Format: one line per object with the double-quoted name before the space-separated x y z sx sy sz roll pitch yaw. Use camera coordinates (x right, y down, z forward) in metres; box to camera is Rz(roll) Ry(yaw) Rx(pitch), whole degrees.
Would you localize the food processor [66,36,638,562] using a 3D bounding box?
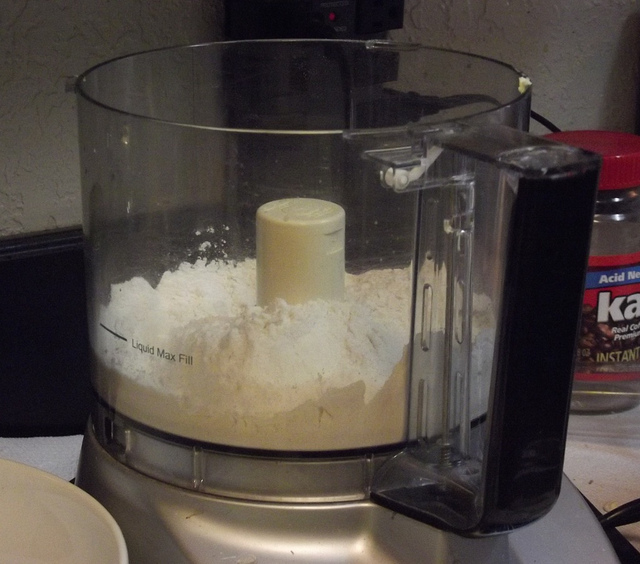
"food processor" -0.005 0.021 0.448 0.245 0.284 0.323 -10 24 -32
